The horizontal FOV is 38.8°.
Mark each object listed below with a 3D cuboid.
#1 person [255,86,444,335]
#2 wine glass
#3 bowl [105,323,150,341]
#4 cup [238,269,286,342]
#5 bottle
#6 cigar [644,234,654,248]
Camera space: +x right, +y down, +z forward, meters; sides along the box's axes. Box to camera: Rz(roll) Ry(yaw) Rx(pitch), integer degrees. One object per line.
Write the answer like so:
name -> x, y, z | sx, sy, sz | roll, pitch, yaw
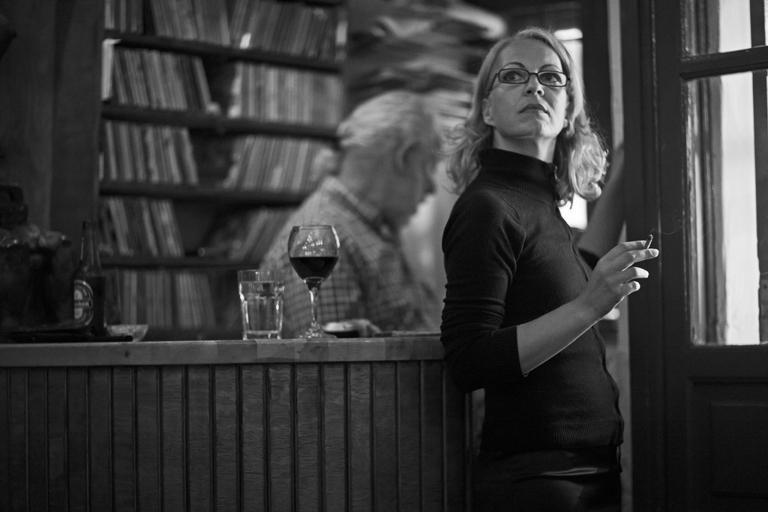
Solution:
person -> -0.182, -0.200, 4.393 | 0.615, 1.087, 0.960 | 7, -3, -15
wine glass -> -0.221, 0.068, 3.209 | 0.147, 0.362, 0.288 | 1, -7, -5
bowl -> -0.828, 0.238, 3.417 | 0.115, 0.061, 0.287 | 2, -7, -12
cup -> -0.373, 0.141, 3.179 | 0.129, 0.205, 0.142 | 2, -7, -10
bottle -> -0.943, 0.066, 3.428 | 0.106, 0.393, 0.414 | 2, -7, -15
cigar -> 0.863, -0.049, 3.525 | 0.017, 0.010, 0.070 | -13, 26, 31
